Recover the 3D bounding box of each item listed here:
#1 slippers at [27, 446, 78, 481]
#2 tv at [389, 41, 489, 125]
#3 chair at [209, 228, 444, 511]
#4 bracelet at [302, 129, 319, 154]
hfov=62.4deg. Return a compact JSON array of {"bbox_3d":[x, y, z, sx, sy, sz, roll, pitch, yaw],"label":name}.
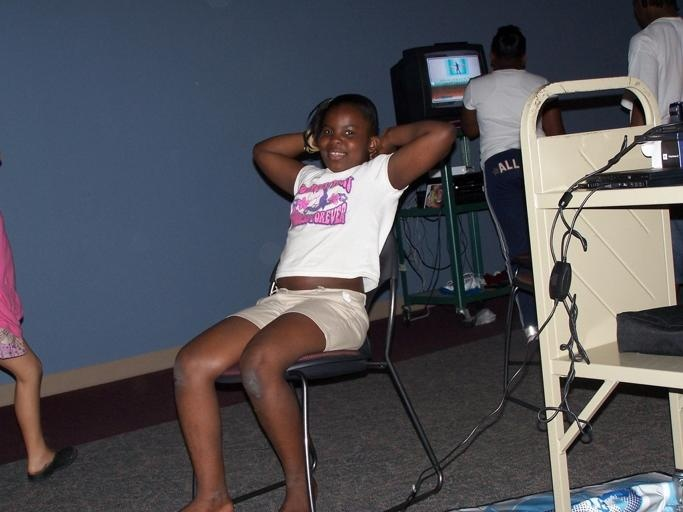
[{"bbox_3d":[-1.249,0.877,2.465,0.076,0.075,0.203,8,23,29],"label":"slippers"},{"bbox_3d":[0.764,-1.159,4.326,0.737,0.729,0.712,-6,7,-11],"label":"tv"},{"bbox_3d":[-0.039,0.420,2.004,0.794,0.936,0.618,-9,9,-24],"label":"chair"},{"bbox_3d":[-0.130,-0.484,2.385,0.071,0.093,0.033,5,10,44],"label":"bracelet"}]
